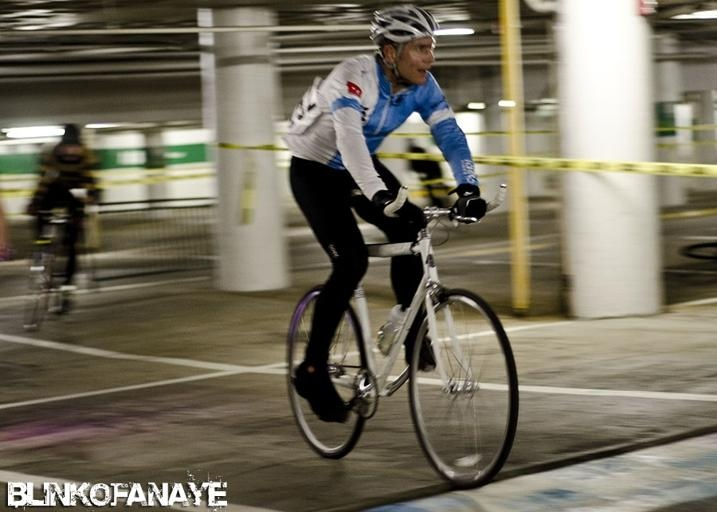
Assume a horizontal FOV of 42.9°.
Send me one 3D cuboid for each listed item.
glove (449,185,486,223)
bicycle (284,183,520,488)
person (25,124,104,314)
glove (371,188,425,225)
[{"bbox_3d":[0.617,-0.296,5.119,0.196,0.219,0.307,-2,5,6],"label":"glove"},{"bbox_3d":[0.264,0.500,5.368,1.496,1.573,0.511,2,8,45],"label":"bicycle"},{"bbox_3d":[-3.297,-0.415,10.235,0.774,2.122,1.088,-5,6,-16],"label":"person"},{"bbox_3d":[0.224,-0.267,5.056,0.192,0.092,0.338,2,8,-15],"label":"glove"}]
